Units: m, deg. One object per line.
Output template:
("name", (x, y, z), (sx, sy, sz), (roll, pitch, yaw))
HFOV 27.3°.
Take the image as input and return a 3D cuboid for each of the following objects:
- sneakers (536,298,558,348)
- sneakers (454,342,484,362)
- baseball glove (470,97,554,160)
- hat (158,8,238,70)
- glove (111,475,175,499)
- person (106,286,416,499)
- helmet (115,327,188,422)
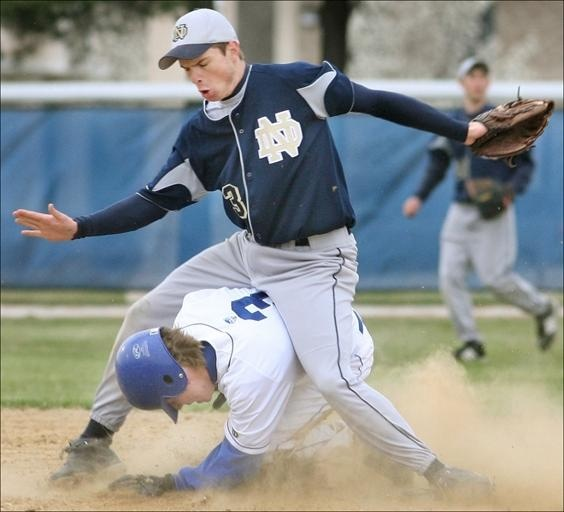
("sneakers", (2.050, 0.514, 8.927), (0.124, 0.391, 0.160), (14, 18, 37))
("sneakers", (1.269, 0.620, 7.874), (0.128, 0.090, 0.222), (-34, -22, 19))
("baseball glove", (1.390, -0.765, 7.016), (0.457, 0.323, 0.221), (-39, 21, 35))
("hat", (-0.512, -1.304, 6.961), (0.419, 0.256, 0.290), (-28, 16, -29))
("glove", (-0.842, 1.362, 7.016), (0.273, 0.095, 0.173), (1, 9, 11))
("person", (-0.352, 0.794, 7.052), (1.332, 1.127, 0.667), (-2, 14, 2))
("helmet", (-0.796, 0.666, 7.033), (0.530, 0.462, 0.406), (24, -4, -11))
